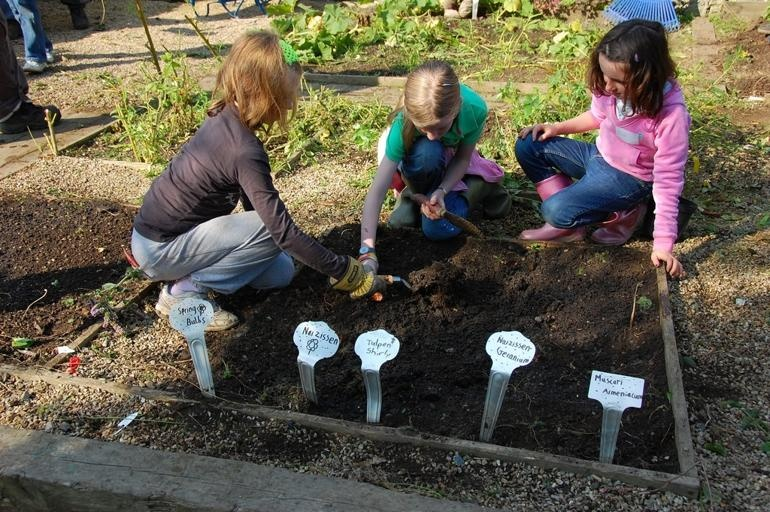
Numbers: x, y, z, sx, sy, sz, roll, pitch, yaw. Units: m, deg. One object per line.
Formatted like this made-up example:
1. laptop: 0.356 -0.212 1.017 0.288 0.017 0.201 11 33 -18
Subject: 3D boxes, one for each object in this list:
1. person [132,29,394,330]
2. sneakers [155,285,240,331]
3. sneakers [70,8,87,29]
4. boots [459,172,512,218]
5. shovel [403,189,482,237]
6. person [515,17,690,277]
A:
1. person: -0.886 -0.396 3.760 1.395 1.559 0.614 -6 33 -2
2. sneakers: -1.091 0.293 3.987 0.601 0.231 0.187 9 50 0
3. sneakers: -4.012 -3.117 8.747 0.203 0.294 0.259 -17 34 -18
4. boots: 0.580 -0.413 4.609 0.362 0.251 0.239 15 56 48
5. shovel: 0.310 -0.241 4.284 0.588 0.280 0.280 12 35 26
6. person: 1.315 -0.667 4.047 1.196 1.410 0.704 15 38 29
